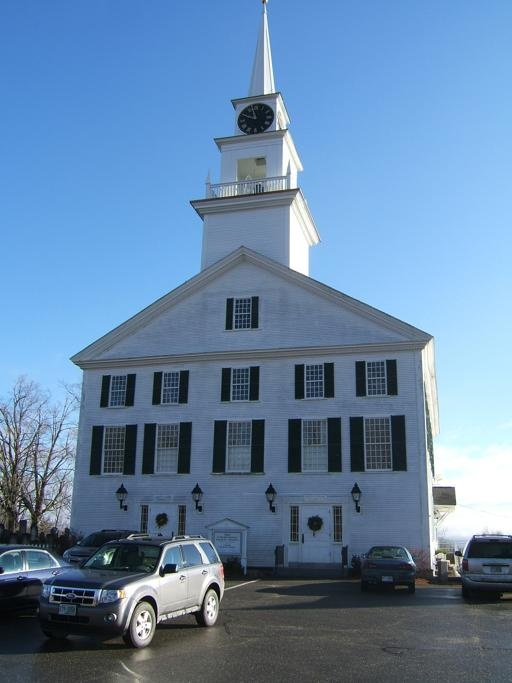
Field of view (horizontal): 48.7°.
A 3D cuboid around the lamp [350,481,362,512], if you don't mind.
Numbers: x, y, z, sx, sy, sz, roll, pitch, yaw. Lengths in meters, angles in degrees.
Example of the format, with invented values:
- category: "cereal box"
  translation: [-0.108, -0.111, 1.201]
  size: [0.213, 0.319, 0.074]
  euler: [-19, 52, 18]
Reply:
- category: "lamp"
  translation: [4.044, 6.322, 22.817]
  size: [0.443, 1.152, 0.371]
  euler: [-3, -15, 6]

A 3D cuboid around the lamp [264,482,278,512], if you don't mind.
- category: "lamp"
  translation: [0.573, 6.592, 23.784]
  size: [0.464, 1.202, 0.404]
  euler: [-6, -16, 18]

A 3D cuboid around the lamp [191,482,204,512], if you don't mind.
- category: "lamp"
  translation: [-2.591, 6.810, 24.576]
  size: [0.476, 1.244, 0.427]
  euler: [-3, -15, 7]

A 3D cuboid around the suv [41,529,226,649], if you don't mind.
- category: "suv"
  translation: [-1.803, 3.686, 8.573]
  size: [1.461, 1.151, 2.630]
  euler: [-11, -28, 20]

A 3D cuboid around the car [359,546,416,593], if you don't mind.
- category: "car"
  translation: [3.954, 6.960, 17.198]
  size: [1.522, 1.241, 1.793]
  euler: [-4, -15, 10]

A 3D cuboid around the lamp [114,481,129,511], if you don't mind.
- category: "lamp"
  translation: [-6.126, 7.088, 25.566]
  size: [0.525, 1.175, 0.566]
  euler: [-3, -15, 8]
